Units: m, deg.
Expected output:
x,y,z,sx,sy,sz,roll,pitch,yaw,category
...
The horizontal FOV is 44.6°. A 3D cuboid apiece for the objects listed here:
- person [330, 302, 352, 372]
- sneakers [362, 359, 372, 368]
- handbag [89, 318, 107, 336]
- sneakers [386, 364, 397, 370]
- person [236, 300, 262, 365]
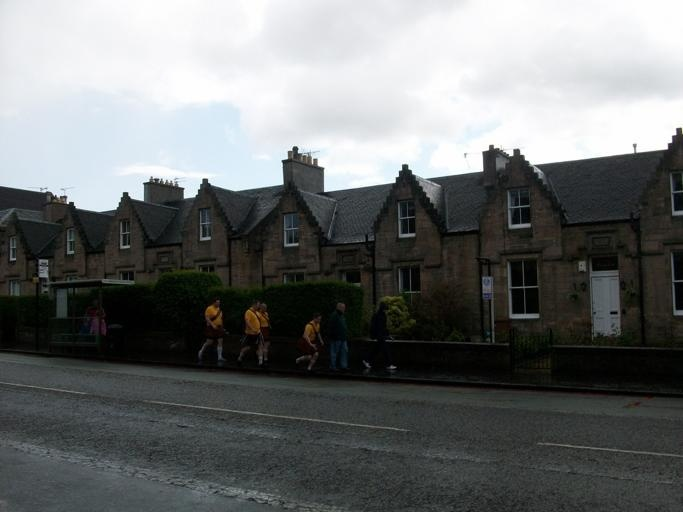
x,y,z,sx,sy,sz,roll,pitch,yaw,category
-0.093,2.408,24.878,0.449,2.029,0.715,0,1,14,person
0.780,3.250,24.940,0.284,0.193,0.293,14,-6,34,sneakers
-8.700,2.570,30.147,0.573,0.625,0.582,1,-1,18,handbag
1.509,3.331,24.914,0.250,0.193,0.398,0,1,1,sneakers
-2.774,2.391,25.826,0.679,1.929,0.922,0,1,-8,person
